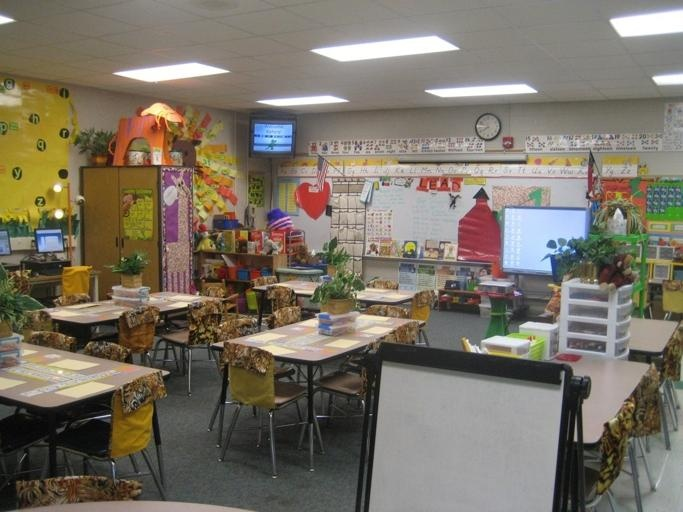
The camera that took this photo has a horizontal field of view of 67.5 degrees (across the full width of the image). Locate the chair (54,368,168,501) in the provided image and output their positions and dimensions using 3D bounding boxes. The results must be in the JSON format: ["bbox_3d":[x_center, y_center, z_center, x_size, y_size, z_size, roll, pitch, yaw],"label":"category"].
[{"bbox_3d":[-1.591,1.281,3.545,0.600,0.832,0.564,-1,-2,21],"label":"chair"}]

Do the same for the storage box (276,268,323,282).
[{"bbox_3d":[-0.769,0.306,9.163,0.529,0.251,0.360,3,3,35],"label":"storage box"}]

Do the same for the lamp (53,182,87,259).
[{"bbox_3d":[-4.424,-0.589,8.289,0.335,1.387,0.679,-2,9,-18],"label":"lamp"}]

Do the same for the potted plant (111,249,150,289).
[{"bbox_3d":[-2.549,0.139,6.151,0.503,0.474,0.429,1,4,3],"label":"potted plant"}]

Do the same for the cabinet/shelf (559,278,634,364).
[{"bbox_3d":[2.141,0.637,4.511,0.405,0.559,0.467,3,-26,21],"label":"cabinet/shelf"}]

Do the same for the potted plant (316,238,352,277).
[{"bbox_3d":[-0.106,0.039,6.547,0.357,0.462,0.520,14,13,29],"label":"potted plant"}]

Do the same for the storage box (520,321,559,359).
[{"bbox_3d":[1.687,0.673,4.299,0.293,0.281,0.301,3,4,41],"label":"storage box"}]

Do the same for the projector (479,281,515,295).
[{"bbox_3d":[2.486,0.507,8.209,0.297,0.123,0.302,3,4,33],"label":"projector"}]

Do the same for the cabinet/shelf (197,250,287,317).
[{"bbox_3d":[-1.609,0.447,8.606,1.155,0.977,0.338,2,-17,-6],"label":"cabinet/shelf"}]

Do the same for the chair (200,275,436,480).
[{"bbox_3d":[-0.181,1.195,4.885,1.198,1.078,1.479,4,9,21],"label":"chair"}]

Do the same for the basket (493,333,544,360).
[{"bbox_3d":[1.424,0.688,4.116,0.335,0.203,0.237,2,5,37],"label":"basket"}]

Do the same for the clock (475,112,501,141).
[{"bbox_3d":[2.703,-2.401,9.392,0.557,0.588,0.097,1,3,28],"label":"clock"}]

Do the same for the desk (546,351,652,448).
[{"bbox_3d":[1.788,0.912,3.602,0.604,0.214,0.961,5,12,35],"label":"desk"}]

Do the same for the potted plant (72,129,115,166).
[{"bbox_3d":[-4.069,-1.823,8.671,0.595,0.701,0.651,1,4,25],"label":"potted plant"}]

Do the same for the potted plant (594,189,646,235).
[{"bbox_3d":[2.652,-0.417,5.016,0.419,0.337,0.420,5,11,16],"label":"potted plant"}]

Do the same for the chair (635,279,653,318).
[{"bbox_3d":[3.492,0.469,5.975,0.194,0.340,0.179,11,8,-21],"label":"chair"}]

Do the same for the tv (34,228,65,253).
[{"bbox_3d":[-4.473,-0.252,7.845,0.140,0.387,0.396,-8,-5,38],"label":"tv"}]
